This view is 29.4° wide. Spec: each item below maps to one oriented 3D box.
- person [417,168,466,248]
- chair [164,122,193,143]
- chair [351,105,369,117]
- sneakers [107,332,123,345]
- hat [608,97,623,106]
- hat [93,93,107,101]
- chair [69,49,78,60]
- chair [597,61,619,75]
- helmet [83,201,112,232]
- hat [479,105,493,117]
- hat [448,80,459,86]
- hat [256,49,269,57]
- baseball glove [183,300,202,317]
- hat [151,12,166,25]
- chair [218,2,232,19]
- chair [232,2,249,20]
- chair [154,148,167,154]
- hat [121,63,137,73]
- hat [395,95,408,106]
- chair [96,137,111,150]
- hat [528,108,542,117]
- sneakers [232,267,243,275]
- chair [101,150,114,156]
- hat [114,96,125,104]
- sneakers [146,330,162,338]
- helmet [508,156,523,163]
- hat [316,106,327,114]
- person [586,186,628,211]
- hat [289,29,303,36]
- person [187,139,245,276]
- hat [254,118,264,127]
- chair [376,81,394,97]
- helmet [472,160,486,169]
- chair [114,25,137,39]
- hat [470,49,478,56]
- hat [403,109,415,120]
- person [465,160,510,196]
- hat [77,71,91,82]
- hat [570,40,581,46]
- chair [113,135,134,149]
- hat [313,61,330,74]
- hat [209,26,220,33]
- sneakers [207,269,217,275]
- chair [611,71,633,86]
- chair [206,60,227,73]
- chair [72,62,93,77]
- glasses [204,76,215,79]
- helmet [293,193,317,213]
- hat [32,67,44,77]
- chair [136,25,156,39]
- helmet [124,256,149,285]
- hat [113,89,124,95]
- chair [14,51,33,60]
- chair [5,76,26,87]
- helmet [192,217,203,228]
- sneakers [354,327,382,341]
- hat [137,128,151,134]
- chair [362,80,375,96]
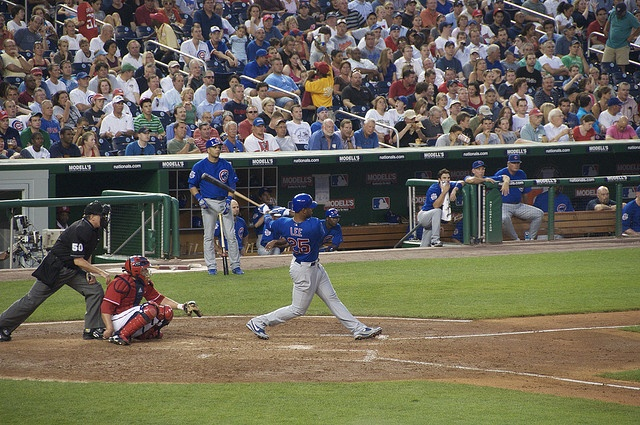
[{"bbox_3d":[3.057,-0.099,31.925,0.624,1.969,1.216,2,-4,-41],"label":"person"},{"bbox_3d":[-3.686,-2.094,31.943,0.924,0.746,0.457,-1,9,-10],"label":"chair"},{"bbox_3d":[1.167,-2.861,34.619,0.604,0.371,0.254,2,-3,-33],"label":"chair"},{"bbox_3d":[-4.032,2.449,23.839,0.332,0.167,0.127,16,4,38],"label":"sneakers"},{"bbox_3d":[8.566,-3.202,35.579,0.397,0.247,0.321,0,-3,-4],"label":"hat"},{"bbox_3d":[-5.755,-3.001,31.748,0.332,0.245,0.565,0,-3,-12],"label":"hat"},{"bbox_3d":[-6.955,-4.436,34.419,0.215,0.305,0.143,2,-19,-14],"label":"chair"},{"bbox_3d":[9.279,-4.645,39.361,0.532,0.645,0.599,0,-1,3],"label":"chair"},{"bbox_3d":[-4.511,0.030,24.340,0.451,0.489,0.559,8,11,30],"label":"helmet"},{"bbox_3d":[4.616,-2.831,34.383,0.267,0.194,0.366,-2,7,-19],"label":"hat"},{"bbox_3d":[3.798,-3.733,35.308,0.258,0.179,0.411,-2,3,15],"label":"hat"},{"bbox_3d":[-1.675,-4.479,34.594,0.321,0.299,0.396,-1,-3,19],"label":"hat"},{"bbox_3d":[-2.552,1.891,24.243,0.301,0.174,0.354,18,-12,6],"label":"baseball glove"},{"bbox_3d":[-4.739,-5.665,35.851,0.548,0.413,0.435,0,-3,-9],"label":"hat"},{"bbox_3d":[-2.958,-6.137,37.307,0.438,0.441,0.543,0,-2,-6],"label":"chair"},{"bbox_3d":[-2.495,-6.299,38.252,0.606,0.706,0.599,-2,7,-20],"label":"chair"},{"bbox_3d":[-4.165,-1.576,31.931,0.273,0.171,0.361,1,-3,-17],"label":"chair"},{"bbox_3d":[-5.189,-3.857,32.835,0.341,0.169,0.204,-1,8,-24],"label":"hat"},{"bbox_3d":[2.283,-3.150,34.527,0.201,0.262,0.766,-1,-3,17],"label":"hat"},{"bbox_3d":[-5.576,-1.750,31.346,0.320,0.337,0.305,1,6,-8],"label":"chair"},{"bbox_3d":[6.107,-2.837,34.780,0.353,0.266,0.671,-1,-3,8],"label":"hat"},{"bbox_3d":[-1.948,1.354,28.487,0.135,0.100,0.233,-2,-4,-44],"label":"sneakers"},{"bbox_3d":[-5.456,-1.512,31.365,0.187,0.149,0.147,-6,-1,17],"label":"chair"},{"bbox_3d":[-5.188,-2.857,31.277,0.272,0.201,0.261,1,-3,-16],"label":"hat"},{"bbox_3d":[-3.308,2.384,24.165,0.218,0.091,0.158,4,-4,-24],"label":"sneakers"},{"bbox_3d":[5.071,-1.405,32.122,0.279,0.202,0.206,-1,-3,10],"label":"helmet"},{"bbox_3d":[0.033,-2.795,33.350,0.249,0.223,0.605,0,-3,-3],"label":"hat"},{"bbox_3d":[7.795,-0.349,33.968,0.590,0.523,0.784,-1,-3,-2],"label":"person"},{"bbox_3d":[-0.751,-5.324,36.437,0.362,0.190,0.222,0,37,-5],"label":"hat"},{"bbox_3d":[-2.446,-0.078,28.183,1.225,3.086,1.045,-3,7,-7],"label":"person"},{"bbox_3d":[-1.625,-2.353,31.773,0.279,0.247,0.626,0,-3,-4],"label":"hat"},{"bbox_3d":[1.904,-3.613,35.858,0.434,0.507,0.472,0,0,-1],"label":"chair"},{"bbox_3d":[4.121,-1.254,32.217,0.249,0.130,0.342,0,0,-10],"label":"helmet"},{"bbox_3d":[-5.661,-5.159,35.404,0.500,0.462,0.444,-5,6,-41],"label":"chair"},{"bbox_3d":[4.596,-4.788,36.806,0.317,0.142,0.453,1,-1,-1],"label":"hat"},{"bbox_3d":[2.469,-2.703,33.849,0.311,0.292,0.421,0,-3,2],"label":"hat"},{"bbox_3d":[4.304,-0.999,31.951,1.116,0.452,1.448,-9,21,-44],"label":"person"},{"bbox_3d":[-6.275,-3.559,32.079,0.212,0.140,0.299,-3,-1,-40],"label":"hat"},{"bbox_3d":[8.055,-5.376,38.735,0.252,0.116,0.377,5,11,-8],"label":"hat"},{"bbox_3d":[-5.122,-1.802,31.480,0.340,0.362,0.420,0,-21,-14],"label":"chair"},{"bbox_3d":[0.010,-4.021,34.382,0.446,0.338,0.337,-1,-3,12],"label":"hat"},{"bbox_3d":[-3.054,-5.244,35.261,0.309,0.212,0.287,0,-3,4],"label":"hat"},{"bbox_3d":[-2.543,1.376,28.509,0.125,0.145,0.328,1,4,0],"label":"sneakers"},{"bbox_3d":[9.560,-4.259,38.868,0.529,0.557,0.527,-1,-1,-1],"label":"chair"},{"bbox_3d":[-2.932,-4.119,34.768,0.420,0.527,0.452,-4,4,-41],"label":"chair"},{"bbox_3d":[-6.558,-3.897,33.426,0.370,0.449,0.396,1,-7,-8],"label":"chair"},{"bbox_3d":[-2.989,-3.608,32.884,0.256,0.090,0.137,2,-4,-39],"label":"glasses"},{"bbox_3d":[-0.338,-0.184,24.096,0.433,0.223,0.324,-12,21,-20],"label":"helmet"},{"bbox_3d":[-7.467,-3.671,32.049,0.272,0.299,0.513,1,-3,-15],"label":"hat"},{"bbox_3d":[-5.083,-5.226,35.575,0.465,0.213,0.498,5,23,31],"label":"chair"},{"bbox_3d":[-3.610,1.106,24.004,0.477,0.488,0.316,1,-3,-13],"label":"helmet"},{"bbox_3d":[-5.247,-3.105,31.673,0.277,0.152,0.197,-5,-3,44],"label":"hat"},{"bbox_3d":[-8.167,-4.302,33.658,0.336,0.188,0.247,20,8,15],"label":"chair"},{"bbox_3d":[-8.175,-3.472,32.529,0.504,0.330,0.424,1,-3,-13],"label":"chair"},{"bbox_3d":[-3.323,0.249,32.765,0.331,0.311,0.117,-2,-19,2],"label":"helmet"},{"bbox_3d":[0.909,2.383,24.261,0.591,0.269,0.223,-15,-7,-6],"label":"sneakers"},{"bbox_3d":[-4.547,-2.063,31.220,0.320,0.186,0.328,0,-3,4],"label":"hat"},{"bbox_3d":[1.426,-3.601,35.686,0.447,0.383,0.319,2,30,7],"label":"chair"}]
